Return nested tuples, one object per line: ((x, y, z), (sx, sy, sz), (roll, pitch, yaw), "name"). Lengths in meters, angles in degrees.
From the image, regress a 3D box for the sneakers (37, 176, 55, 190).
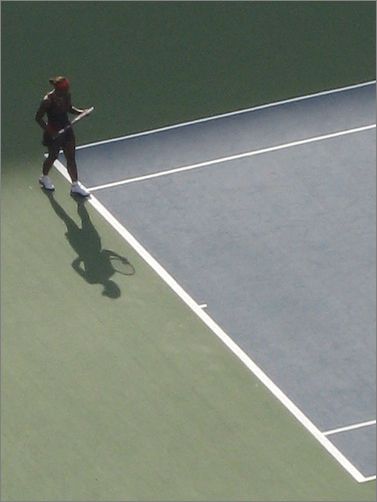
((-1.410, -0.678, 6.706), (0.091, 0.073, 0.170), (-39, 68, -16), "sneakers")

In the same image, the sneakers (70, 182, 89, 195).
((-1.081, -0.620, 6.693), (0.161, 0.097, 0.053), (19, 67, 9), "sneakers")
